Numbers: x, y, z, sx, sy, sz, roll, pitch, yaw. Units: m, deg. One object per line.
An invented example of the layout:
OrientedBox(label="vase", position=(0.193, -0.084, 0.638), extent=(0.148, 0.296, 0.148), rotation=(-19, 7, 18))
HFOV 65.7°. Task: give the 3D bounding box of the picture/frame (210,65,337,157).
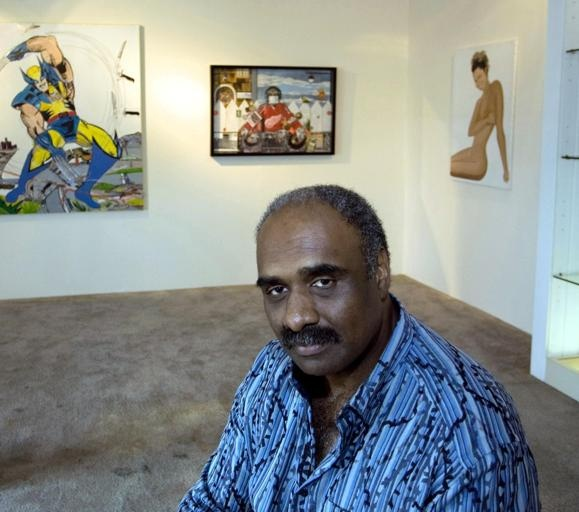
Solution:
OrientedBox(label="picture/frame", position=(-0.272, -1.950, 5.865), extent=(1.098, 0.853, 0.035), rotation=(-2, 13, -7))
